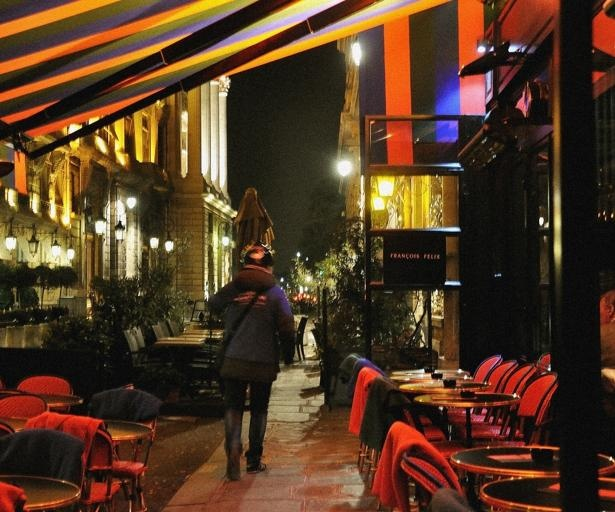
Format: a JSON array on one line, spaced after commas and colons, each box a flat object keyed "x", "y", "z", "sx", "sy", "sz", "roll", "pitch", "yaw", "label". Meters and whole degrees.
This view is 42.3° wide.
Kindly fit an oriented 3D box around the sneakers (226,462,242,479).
[{"x": -0.758, "y": 2.216, "z": 8.159, "sx": 0.148, "sy": 0.179, "sz": 0.174, "roll": -2, "pitch": -1, "yaw": -7, "label": "sneakers"}]

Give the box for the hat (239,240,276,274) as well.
[{"x": -0.587, "y": -0.013, "z": 9.105, "sx": 0.331, "sy": 0.521, "sz": 0.473, "roll": 1, "pitch": 14, "yaw": 4, "label": "hat"}]

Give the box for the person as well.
[{"x": -0.573, "y": 1.095, "z": 8.624, "sx": 0.913, "sy": 2.506, "sz": 0.825, "roll": -2, "pitch": 0, "yaw": -26, "label": "person"}]

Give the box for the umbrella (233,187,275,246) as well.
[{"x": -0.837, "y": -0.618, "z": 12.302, "sx": 0.529, "sy": 0.927, "sz": 0.549, "roll": -2, "pitch": 0, "yaw": -7, "label": "umbrella"}]
